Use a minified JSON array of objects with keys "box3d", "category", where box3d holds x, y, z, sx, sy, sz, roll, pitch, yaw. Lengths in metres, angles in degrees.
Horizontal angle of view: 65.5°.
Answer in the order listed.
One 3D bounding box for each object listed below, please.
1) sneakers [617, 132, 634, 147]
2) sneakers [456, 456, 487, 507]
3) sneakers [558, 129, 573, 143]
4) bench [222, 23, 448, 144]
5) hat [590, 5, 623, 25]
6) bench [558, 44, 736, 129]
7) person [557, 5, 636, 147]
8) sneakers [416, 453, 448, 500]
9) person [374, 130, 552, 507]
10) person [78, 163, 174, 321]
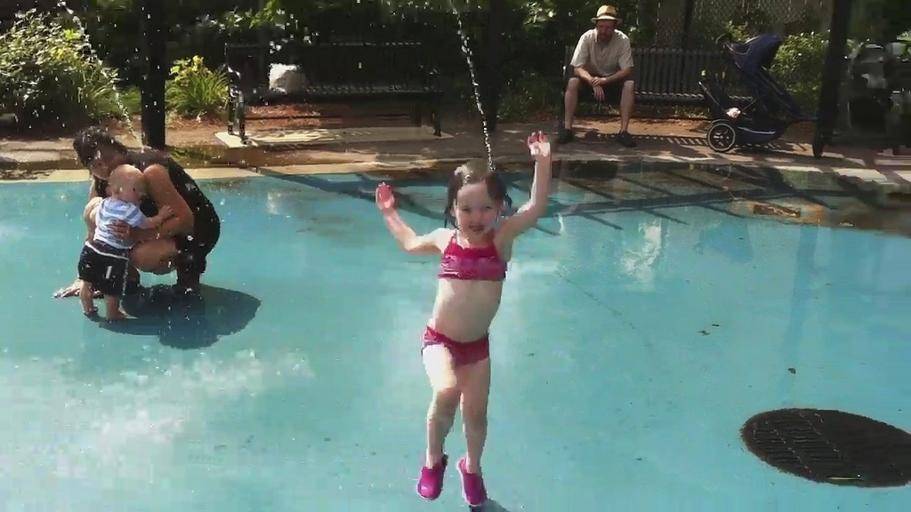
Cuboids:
[{"box3d":[2.715,-1.869,11.324,0.162,0.149,0.351,-16,29,-12],"category":"sneakers"},{"box3d":[0.117,1.739,5.358,0.150,0.154,0.397,-6,57,-21],"category":"sneakers"},{"box3d":[1.742,-1.912,11.332,0.135,0.158,0.410,10,20,19],"category":"sneakers"},{"box3d":[-2.016,-2.951,12.240,3.483,1.508,3.105,-7,21,-14],"category":"bench"},{"box3d":[2.430,-3.935,11.501,0.506,0.244,0.628,2,-5,8],"category":"hat"},{"box3d":[3.382,-2.922,12.089,2.473,0.963,0.805,0,37,-5],"category":"bench"},{"box3d":[2.295,-2.916,11.450,1.220,2.037,1.175,0,20,8],"category":"person"},{"box3d":[-0.174,1.690,5.407,0.171,0.362,0.143,5,-3,6],"category":"sneakers"},{"box3d":[0.126,0.515,5.345,0.753,2.555,1.182,11,24,34],"category":"person"},{"box3d":[-3.119,-0.112,6.571,0.947,1.453,0.379,1,20,10],"category":"person"}]
